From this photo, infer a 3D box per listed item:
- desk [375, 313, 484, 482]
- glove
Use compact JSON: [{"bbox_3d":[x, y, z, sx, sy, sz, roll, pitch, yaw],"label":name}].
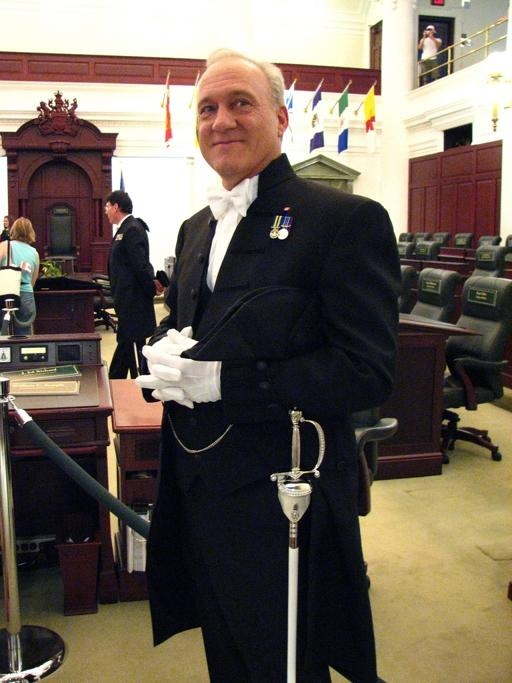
[{"bbox_3d":[1.141,0.278,3.944,0.869,1.001,1.107,1,4,-3],"label":"desk"},{"bbox_3d":[-0.118,0.045,0.977,0.140,0.137,0.066,23,13,12],"label":"glove"}]
